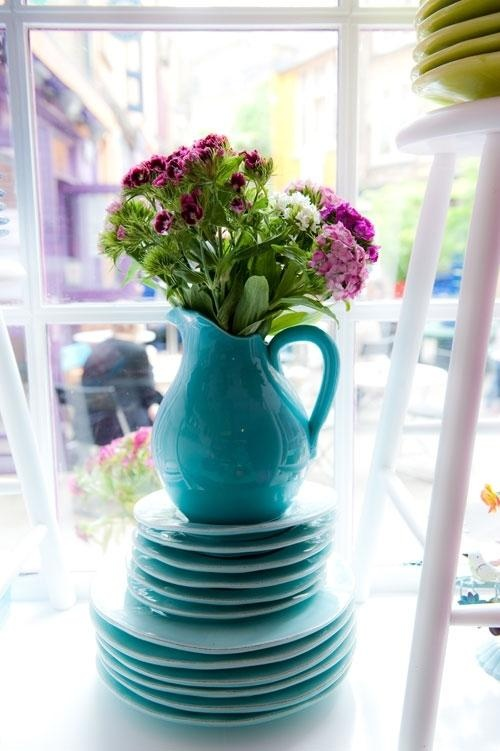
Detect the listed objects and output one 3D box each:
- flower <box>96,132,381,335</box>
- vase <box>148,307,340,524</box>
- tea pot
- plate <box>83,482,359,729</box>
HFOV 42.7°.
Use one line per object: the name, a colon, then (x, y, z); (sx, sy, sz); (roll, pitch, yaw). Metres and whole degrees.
flower: (-0.016, -0.137, 0.664); (0.267, 0.194, 0.191); (-1, 2, -17)
vase: (-0.017, 0.043, 0.712); (0.231, 0.204, 0.173); (2, 7, -2)
tea pot: (-0.017, 0.043, 0.715); (0.236, 0.208, 0.177); (2, 6, -3)
plate: (-0.026, 0.238, 0.714); (0.295, 0.187, 0.259); (0, 2, -10)
